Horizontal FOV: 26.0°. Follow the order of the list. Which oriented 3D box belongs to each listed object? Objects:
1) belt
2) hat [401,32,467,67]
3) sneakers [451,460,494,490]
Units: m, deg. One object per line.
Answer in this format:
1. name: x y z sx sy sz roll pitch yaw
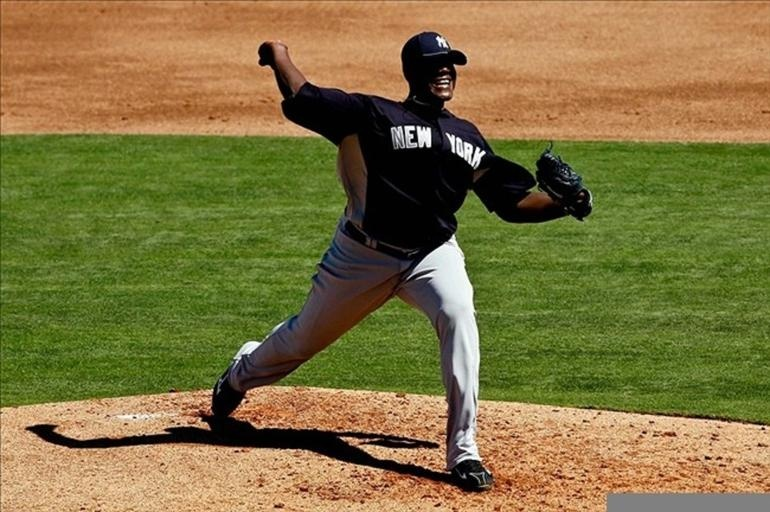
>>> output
1. belt: -0.058 -0.152 13.379 0.438 0.095 0.383 25 14 2
2. hat: 0.377 -1.666 13.455 0.548 0.260 0.355 -2 4 38
3. sneakers: 0.703 1.708 13.419 0.277 0.197 0.525 -12 4 -24
